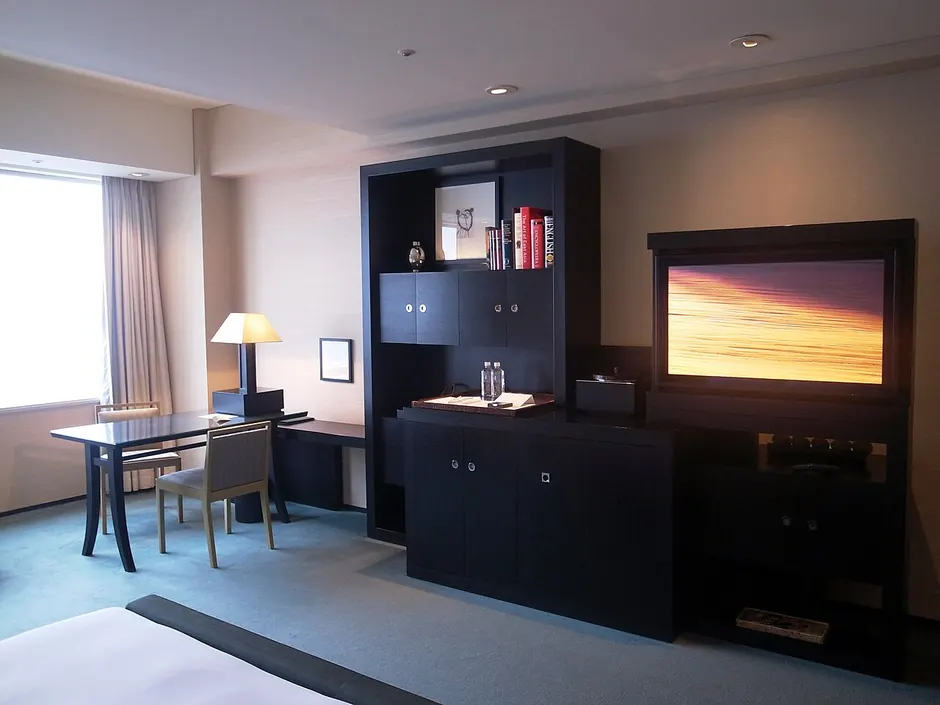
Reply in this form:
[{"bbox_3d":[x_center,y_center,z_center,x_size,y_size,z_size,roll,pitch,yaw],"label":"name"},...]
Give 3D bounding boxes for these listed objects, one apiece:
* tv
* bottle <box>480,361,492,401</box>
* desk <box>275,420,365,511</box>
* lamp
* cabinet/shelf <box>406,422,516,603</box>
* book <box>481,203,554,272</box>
[{"bbox_3d":[1.473,-0.179,3.463,0.028,0.786,1.285,-6,7,-36],"label":"tv"},{"bbox_3d":[0.108,0.188,4.219,0.074,0.209,0.174,-1,8,2],"label":"bottle"},{"bbox_3d":[-1.148,0.880,5.428,0.673,0.625,0.367,6,10,34],"label":"desk"},{"bbox_3d":[-1.695,0.083,5.380,0.504,0.775,0.452,7,11,44],"label":"lamp"},{"bbox_3d":[-0.149,0.968,4.322,0.816,1.053,0.561,14,-30,-24],"label":"cabinet/shelf"},{"bbox_3d":[0.355,-0.610,4.227,0.364,0.480,0.509,3,4,35],"label":"book"}]
